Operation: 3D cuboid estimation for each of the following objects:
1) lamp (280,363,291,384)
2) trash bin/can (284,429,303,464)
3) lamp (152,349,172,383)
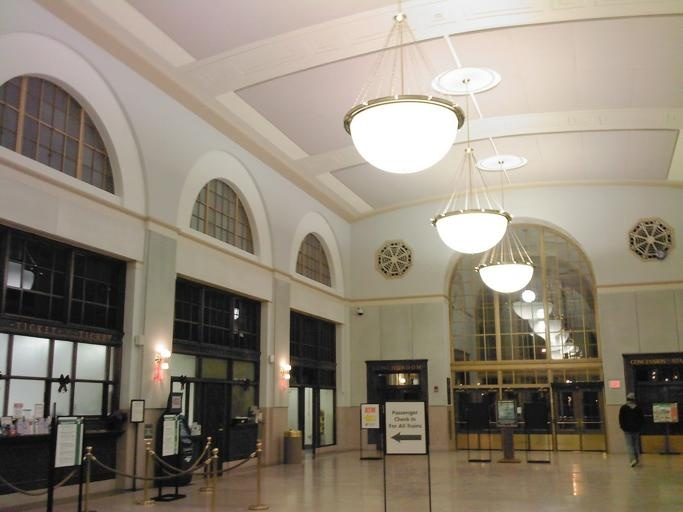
[{"bbox_3d":[-2.160,4.422,19.209,0.213,0.753,0.631,-7,-18,15],"label":"lamp"},{"bbox_3d":[-1.820,6.895,18.409,0.644,1.112,0.584,1,-17,-10],"label":"trash bin/can"},{"bbox_3d":[-4.944,2.964,13.825,0.257,0.895,0.532,-9,-18,21],"label":"lamp"}]
